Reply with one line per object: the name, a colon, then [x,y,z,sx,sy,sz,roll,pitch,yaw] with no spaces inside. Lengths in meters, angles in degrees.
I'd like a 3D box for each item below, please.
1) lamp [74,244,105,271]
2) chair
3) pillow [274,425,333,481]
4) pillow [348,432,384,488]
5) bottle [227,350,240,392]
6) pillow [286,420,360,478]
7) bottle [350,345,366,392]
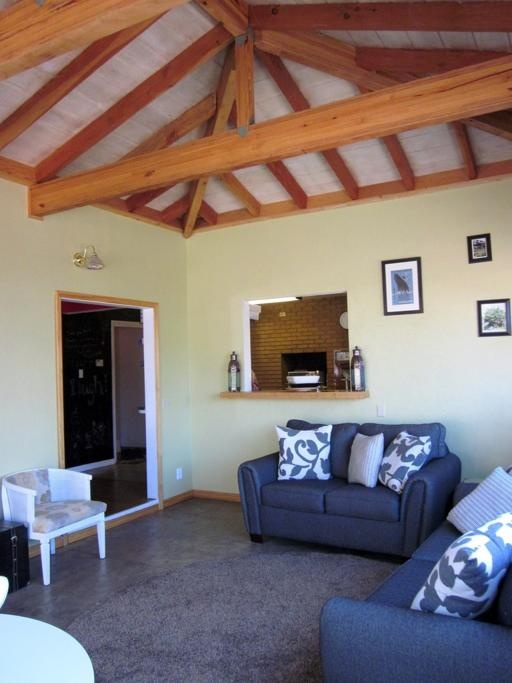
lamp: [-1.270,-0.664,4.382,0.287,0.239,0.172,4,2,19]
chair: [-1.368,1.195,3.712,0.454,0.630,0.589,-3,-3,26]
pillow: [0.388,0.879,4.301,0.383,0.361,0.134,1,-26,3]
pillow: [0.799,0.861,3.943,0.110,0.300,0.285,18,-21,-14]
bottle: [-0.211,0.297,5.357,0.135,0.392,0.150,-2,-3,6]
pillow: [0.643,0.842,4.346,0.429,0.419,0.172,0,-16,28]
bottle: [0.865,0.228,4.667,0.108,0.382,0.115,-2,-3,0]
